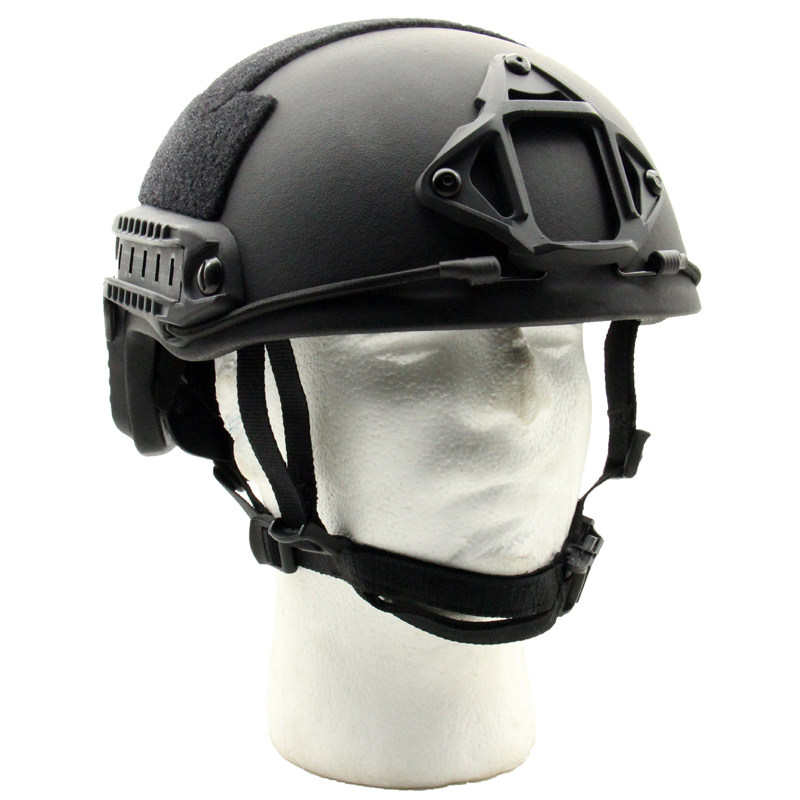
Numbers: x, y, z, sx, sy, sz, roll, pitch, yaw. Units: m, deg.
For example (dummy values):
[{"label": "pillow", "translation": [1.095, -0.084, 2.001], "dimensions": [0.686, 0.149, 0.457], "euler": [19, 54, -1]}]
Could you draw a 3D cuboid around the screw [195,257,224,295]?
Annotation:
[{"label": "screw", "translation": [-0.341, -0.220, 1.820], "dimensions": [0.061, 0.036, 0.060], "euler": [-2, -66, -31]}]
